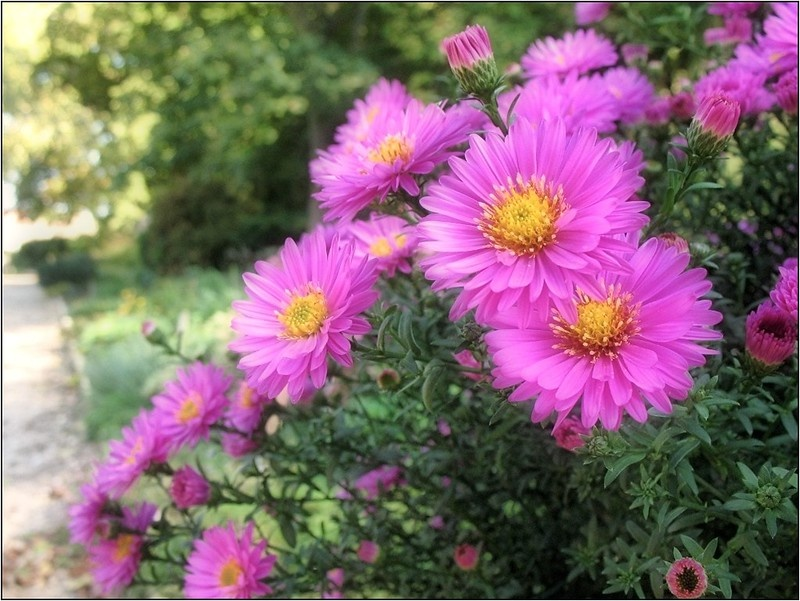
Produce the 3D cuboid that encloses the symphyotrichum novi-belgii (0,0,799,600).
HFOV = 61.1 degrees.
[{"bbox_3d":[0.044,0.115,2.122,2.016,1.237,1.824,-7,93,-25],"label":"symphyotrichum novi-belgii"}]
